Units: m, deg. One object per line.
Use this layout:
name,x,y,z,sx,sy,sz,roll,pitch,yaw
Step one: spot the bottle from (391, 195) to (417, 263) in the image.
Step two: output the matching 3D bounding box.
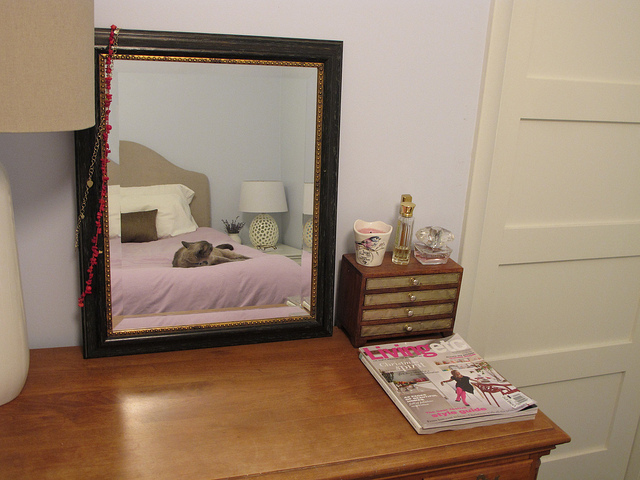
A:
bottle,0.271,-0.045,1.560,0.062,0.208,0.161,6,15,11

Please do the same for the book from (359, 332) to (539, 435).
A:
book,0.345,0.389,1.307,0.282,0.056,0.289,-8,28,-20

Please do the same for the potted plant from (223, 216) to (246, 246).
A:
potted plant,-0.254,-0.031,1.491,0.069,0.101,0.068,-7,21,-23

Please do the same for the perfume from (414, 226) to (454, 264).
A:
perfume,0.362,0.016,1.574,0.098,0.124,0.107,-1,19,-11

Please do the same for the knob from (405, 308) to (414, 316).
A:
knob,0.276,0.221,1.498,0.017,0.007,0.023,-9,27,-34

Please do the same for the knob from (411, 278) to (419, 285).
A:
knob,0.289,0.124,1.474,0.015,0.008,0.020,-3,25,0

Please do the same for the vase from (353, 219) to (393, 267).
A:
vase,0.161,0.007,1.515,0.114,0.123,0.117,4,14,4

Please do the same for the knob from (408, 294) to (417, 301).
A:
knob,0.285,0.175,1.485,0.023,0.020,0.009,-2,15,-18

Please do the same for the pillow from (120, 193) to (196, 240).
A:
pillow,-0.477,-0.103,1.402,0.272,0.129,0.171,-4,16,-27

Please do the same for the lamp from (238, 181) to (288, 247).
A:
lamp,-0.169,-0.093,1.566,0.177,0.237,0.174,8,13,33
